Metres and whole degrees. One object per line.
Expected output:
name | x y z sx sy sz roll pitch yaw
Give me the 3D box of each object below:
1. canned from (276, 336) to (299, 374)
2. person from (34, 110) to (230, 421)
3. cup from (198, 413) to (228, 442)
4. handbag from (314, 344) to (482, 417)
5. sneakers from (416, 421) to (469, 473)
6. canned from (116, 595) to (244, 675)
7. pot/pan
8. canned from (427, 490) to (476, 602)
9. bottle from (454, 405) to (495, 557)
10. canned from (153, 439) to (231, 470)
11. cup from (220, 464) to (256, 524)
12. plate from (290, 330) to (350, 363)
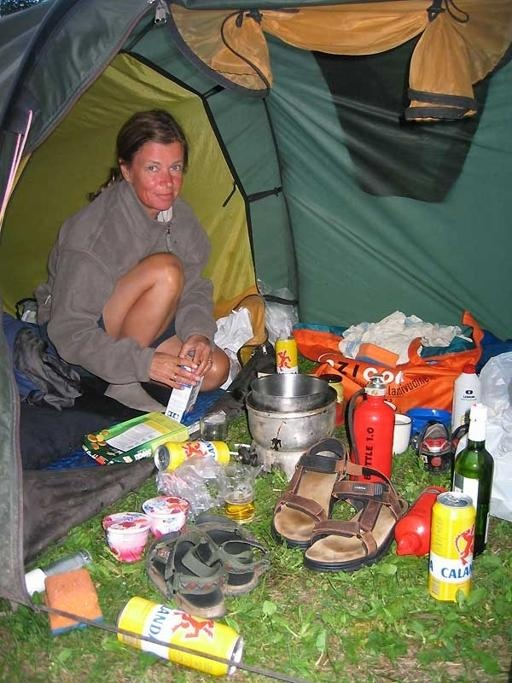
canned | 0.124 0.062 2.316 0.082 0.157 0.111 -3 19 1
person | -0.420 -0.234 2.360 0.779 1.320 0.774 -11 28 -31
cup | -0.153 0.316 2.075 0.102 0.099 0.106 1 5 0
handbag | 0.592 0.161 2.257 0.852 0.265 0.245 -2 5 16
sneakers | 0.580 0.333 1.820 0.131 0.086 0.172 3 34 22
canned | -0.152 0.580 1.104 0.263 0.069 0.073 6 20 25
pot/pan | 0.105 0.211 1.896 0.261 0.249 0.283 9 18 37
canned | 0.426 0.449 1.232 0.093 0.263 0.141 4 21 21
bottle | 0.506 0.331 1.366 0.125 0.363 0.121 0 10 0
canned | -0.201 0.359 1.797 0.235 0.092 0.124 -9 19 -20
cup | -0.017 0.441 1.627 0.093 0.131 0.140 0 -1 6
plate | 0.322 -0.011 2.925 0.355 0.140 0.353 2 21 16
